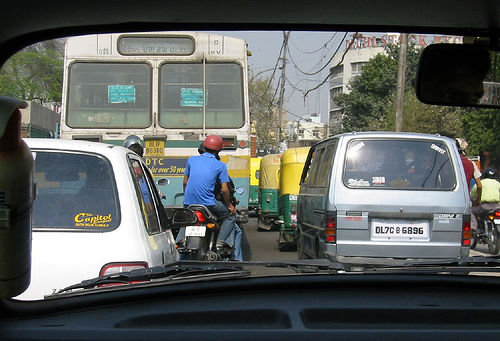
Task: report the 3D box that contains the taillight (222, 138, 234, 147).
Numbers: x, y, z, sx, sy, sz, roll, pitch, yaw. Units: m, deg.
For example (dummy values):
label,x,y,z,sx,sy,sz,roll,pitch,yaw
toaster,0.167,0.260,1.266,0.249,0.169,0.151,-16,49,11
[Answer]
label,x,y,z,sx,sy,sz,roll,pitch,yaw
taillight,-0.392,-0.475,10.658,0.260,0.162,0.028,1,-2,-10

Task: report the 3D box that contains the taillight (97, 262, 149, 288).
label,x,y,z,sx,sy,sz,roll,pitch,yaw
taillight,-0.947,0.734,4.374,0.256,0.084,0.224,11,-23,-16

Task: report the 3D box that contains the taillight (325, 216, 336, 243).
label,x,y,z,sx,sy,sz,roll,pitch,yaw
taillight,0.876,0.640,6.971,0.118,0.272,0.249,3,14,5

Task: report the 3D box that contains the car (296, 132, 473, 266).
label,x,y,z,sx,sy,sz,roll,pitch,yaw
car,1.451,0.324,7.168,1.217,1.047,2.006,1,-3,-4

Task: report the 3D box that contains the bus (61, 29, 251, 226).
label,x,y,z,sx,sy,sz,roll,pitch,yaw
bus,-1.687,-0.208,13.731,3.429,3.625,6.365,-1,-9,0

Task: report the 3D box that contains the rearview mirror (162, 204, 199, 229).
label,x,y,z,sx,sy,sz,roll,pitch,yaw
rearview mirror,-0.630,0.427,5.807,0.245,0.231,0.478,1,0,3

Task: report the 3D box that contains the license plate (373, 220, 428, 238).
label,x,y,z,sx,sy,sz,roll,pitch,yaw
license plate,1.591,0.624,6.782,0.571,0.160,0.208,3,14,7

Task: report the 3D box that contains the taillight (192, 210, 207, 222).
label,x,y,z,sx,sy,sz,roll,pitch,yaw
taillight,-0.547,0.491,6.954,0.098,0.173,0.045,-4,-23,-23

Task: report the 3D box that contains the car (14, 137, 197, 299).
label,x,y,z,sx,sy,sz,roll,pitch,yaw
car,-1.150,0.363,4.721,0.974,1.191,1.704,2,14,1

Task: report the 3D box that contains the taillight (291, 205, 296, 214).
label,x,y,z,sx,sy,sz,roll,pitch,yaw
taillight,0.795,0.704,11.850,0.118,0.202,0.112,1,-5,-6
